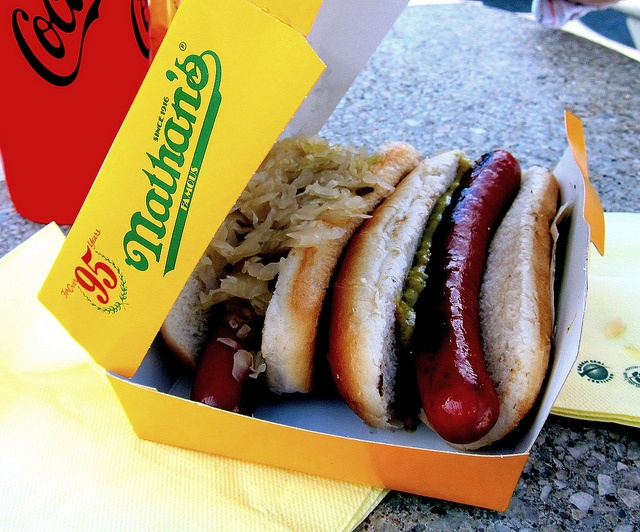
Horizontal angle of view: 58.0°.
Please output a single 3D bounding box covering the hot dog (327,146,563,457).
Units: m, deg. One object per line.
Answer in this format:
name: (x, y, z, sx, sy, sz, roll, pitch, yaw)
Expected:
hot dog: (0.263, 0.038, 1.155, 0.340, 0.220, 0.691, 4, 45, 22)
